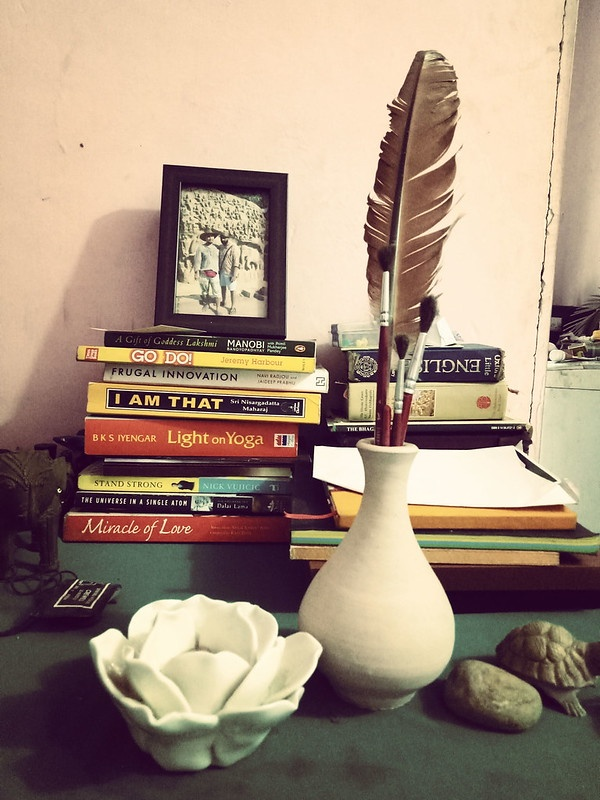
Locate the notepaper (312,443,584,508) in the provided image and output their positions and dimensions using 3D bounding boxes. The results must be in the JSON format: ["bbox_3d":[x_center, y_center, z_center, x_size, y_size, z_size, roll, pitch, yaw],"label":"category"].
[{"bbox_3d":[0.133,0.074,0.686,0.136,0.020,0.132,3,8,-3],"label":"notepaper"}]

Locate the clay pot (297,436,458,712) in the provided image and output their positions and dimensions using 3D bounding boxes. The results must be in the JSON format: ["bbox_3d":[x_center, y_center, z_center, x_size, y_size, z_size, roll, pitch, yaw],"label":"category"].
[{"bbox_3d":[0.057,0.132,0.512,0.114,0.177,0.115,6,-2,0],"label":"clay pot"}]

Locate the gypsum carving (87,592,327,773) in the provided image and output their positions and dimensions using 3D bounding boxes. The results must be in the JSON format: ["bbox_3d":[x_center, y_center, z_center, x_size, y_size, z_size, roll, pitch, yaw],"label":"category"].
[{"bbox_3d":[-0.057,0.184,0.442,0.130,0.089,0.105,7,15,26],"label":"gypsum carving"}]

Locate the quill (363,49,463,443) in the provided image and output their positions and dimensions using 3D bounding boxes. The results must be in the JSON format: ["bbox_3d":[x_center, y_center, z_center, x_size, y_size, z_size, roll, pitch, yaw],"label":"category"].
[{"bbox_3d":[0.085,-0.141,0.567,0.075,0.305,0.234,3,13,9],"label":"quill"}]
